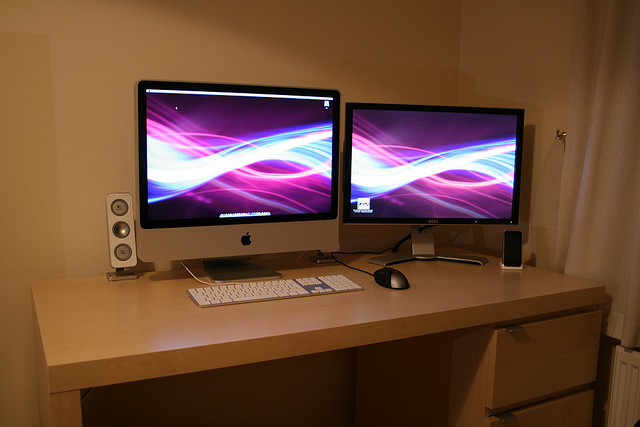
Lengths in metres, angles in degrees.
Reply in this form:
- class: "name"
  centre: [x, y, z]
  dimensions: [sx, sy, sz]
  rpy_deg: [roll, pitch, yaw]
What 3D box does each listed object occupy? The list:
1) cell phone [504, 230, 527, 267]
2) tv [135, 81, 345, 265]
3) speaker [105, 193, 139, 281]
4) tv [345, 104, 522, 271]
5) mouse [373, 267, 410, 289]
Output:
- class: "cell phone"
  centre: [0.830, 0.150, 2.213]
  dimensions: [0.093, 0.156, 0.016]
  rpy_deg: [2, -2, -14]
- class: "tv"
  centre: [-0.334, -0.167, 2.001]
  dimensions: [0.751, 0.655, 0.240]
  rpy_deg: [-1, 5, -21]
- class: "speaker"
  centre: [-0.792, 0.076, 2.065]
  dimensions: [0.127, 0.335, 0.121]
  rpy_deg: [-1, 16, -9]
- class: "tv"
  centre: [0.497, -0.132, 2.253]
  dimensions: [0.766, 0.704, 0.247]
  rpy_deg: [1, 3, -6]
- class: "mouse"
  centre: [0.289, 0.249, 1.996]
  dimensions: [0.147, 0.065, 0.115]
  rpy_deg: [-4, 9, -6]
